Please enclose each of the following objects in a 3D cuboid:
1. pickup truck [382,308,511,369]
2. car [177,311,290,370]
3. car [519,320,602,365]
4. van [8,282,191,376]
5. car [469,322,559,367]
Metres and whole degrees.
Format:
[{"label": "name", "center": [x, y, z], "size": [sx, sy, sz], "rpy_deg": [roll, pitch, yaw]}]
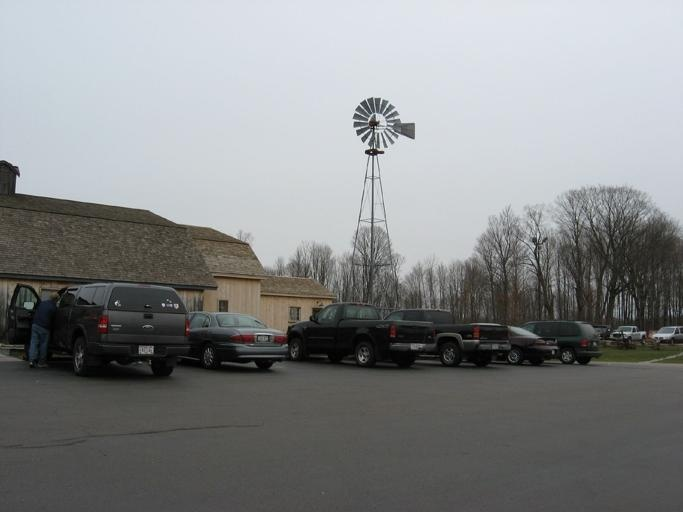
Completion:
[{"label": "pickup truck", "center": [3.612, 3.070, 23.967], "size": [1.980, 1.672, 4.269], "rpy_deg": [5, -3, -44]}, {"label": "car", "center": [-3.098, 2.454, 19.162], "size": [2.895, 1.587, 1.543], "rpy_deg": [1, -1, 34]}, {"label": "car", "center": [9.172, 3.619, 27.940], "size": [3.090, 1.453, 1.636], "rpy_deg": [2, -1, 31]}, {"label": "van", "center": [-5.936, 1.644, 16.782], "size": [2.744, 1.782, 3.941], "rpy_deg": [5, -3, -38]}, {"label": "car", "center": [6.679, 3.397, 25.982], "size": [3.181, 1.250, 1.478], "rpy_deg": [0, -3, 41]}]
